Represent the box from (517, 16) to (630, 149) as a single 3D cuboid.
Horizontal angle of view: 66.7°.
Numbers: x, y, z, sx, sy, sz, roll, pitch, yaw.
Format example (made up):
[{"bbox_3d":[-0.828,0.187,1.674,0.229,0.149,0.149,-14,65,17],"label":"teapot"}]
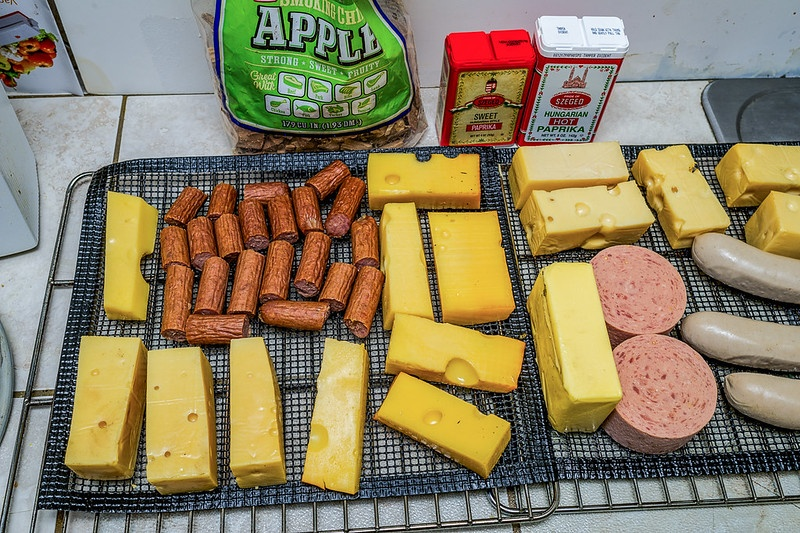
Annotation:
[{"bbox_3d":[0.650,-0.693,2.334,0.326,0.436,0.257,6,58,3],"label":"box"}]
